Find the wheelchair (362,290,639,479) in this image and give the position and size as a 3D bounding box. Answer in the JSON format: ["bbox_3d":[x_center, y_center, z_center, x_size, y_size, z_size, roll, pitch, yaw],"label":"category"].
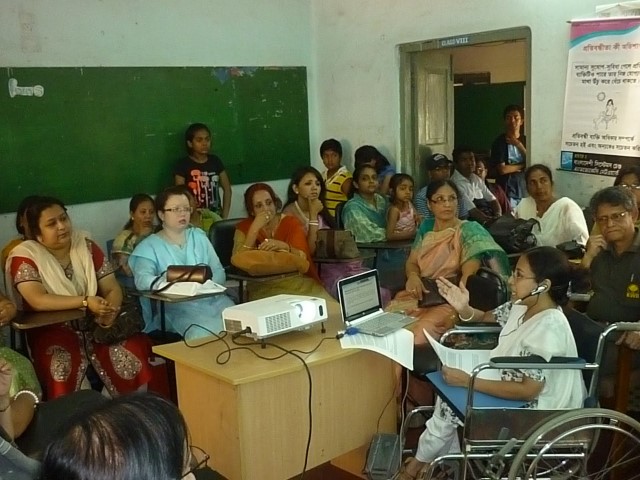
[{"bbox_3d":[0.811,0.611,2.911,1.016,1.001,0.698,1,6,-7],"label":"wheelchair"}]

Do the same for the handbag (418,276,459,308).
[{"bbox_3d":[0.760,0.327,3.773,0.219,0.217,0.072,3,1,-36],"label":"handbag"}]

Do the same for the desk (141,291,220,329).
[{"bbox_3d":[-0.871,0.367,3.602,0.334,0.331,0.345,4,5,43],"label":"desk"}]

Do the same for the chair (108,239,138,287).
[{"bbox_3d":[-1.429,0.175,4.199,0.263,0.291,0.171,-12,-22,10],"label":"chair"}]

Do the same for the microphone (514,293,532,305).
[{"bbox_3d":[0.956,0.279,2.679,0.058,0.015,0.043,-31,2,-7],"label":"microphone"}]

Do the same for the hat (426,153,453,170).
[{"bbox_3d":[1.207,-0.781,5.725,0.161,0.124,0.215,-11,0,-37],"label":"hat"}]

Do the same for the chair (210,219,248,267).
[{"bbox_3d":[-0.746,0.003,4.829,0.326,0.440,0.359,-4,6,-36],"label":"chair"}]

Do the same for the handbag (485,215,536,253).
[{"bbox_3d":[1.539,-0.050,4.534,0.307,0.131,0.303,-21,37,-24],"label":"handbag"}]

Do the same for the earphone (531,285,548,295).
[{"bbox_3d":[1.006,0.226,2.594,0.034,0.014,0.058,5,-20,-11],"label":"earphone"}]

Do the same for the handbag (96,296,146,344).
[{"bbox_3d":[-1.226,0.503,3.561,0.276,0.078,0.200,-25,47,-38],"label":"handbag"}]

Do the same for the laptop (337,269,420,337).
[{"bbox_3d":[0.313,0.363,3.084,0.327,0.312,0.426,8,11,38],"label":"laptop"}]

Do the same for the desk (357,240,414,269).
[{"bbox_3d":[0.581,0.052,4.934,0.258,0.242,0.490,5,9,24],"label":"desk"}]

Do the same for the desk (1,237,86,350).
[{"bbox_3d":[-1.607,0.298,3.659,0.335,0.541,0.634,-24,-9,31],"label":"desk"}]
